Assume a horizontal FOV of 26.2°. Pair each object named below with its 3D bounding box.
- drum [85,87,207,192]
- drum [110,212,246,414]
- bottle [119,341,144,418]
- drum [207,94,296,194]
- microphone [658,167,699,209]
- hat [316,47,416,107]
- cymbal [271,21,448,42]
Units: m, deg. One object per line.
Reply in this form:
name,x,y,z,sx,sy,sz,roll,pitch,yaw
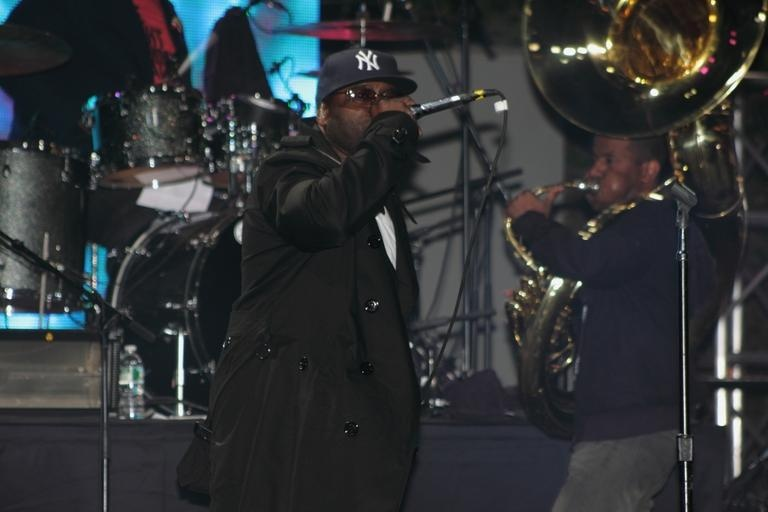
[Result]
drum,-1.561,-0.775,10.687,0.742,0.460,0.701,-9,-12,-2
drum,-1.418,0.360,11.453,1.323,1.694,1.059,-1,-1,-7
bottle,-1.624,0.795,10.571,0.149,0.473,0.071,1,-3,-1
drum,-0.783,-0.667,10.893,0.678,0.660,0.632,11,-4,1
microphone,1.846,-0.420,10.265,0.258,0.097,0.195,37,-13,-4
hat,-0.119,-1.003,9.122,0.510,0.297,0.526,3,14,-1
cymbal,-0.164,-1.459,10.753,1.141,0.123,0.207,0,-3,0
